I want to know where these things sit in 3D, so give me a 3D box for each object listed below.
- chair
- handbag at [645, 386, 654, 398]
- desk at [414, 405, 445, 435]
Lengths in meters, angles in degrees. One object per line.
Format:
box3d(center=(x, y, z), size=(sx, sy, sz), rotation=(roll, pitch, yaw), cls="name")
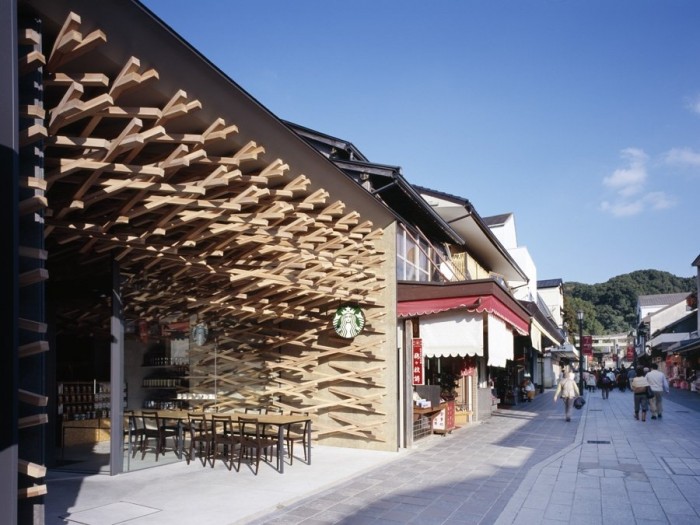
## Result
box3d(center=(-2.248, 3.194, 11.893), size=(3.044, 1.026, 2.998), rotation=(1, -8, -3), cls="chair")
box3d(center=(9.018, 3.914, 19.144), size=(0.171, 0.380, 0.531), rotation=(-4, -10, 24), cls="handbag")
box3d(center=(1.866, 3.768, 15.194), size=(0.582, 0.410, 1.074), rotation=(-6, -13, 34), cls="desk")
